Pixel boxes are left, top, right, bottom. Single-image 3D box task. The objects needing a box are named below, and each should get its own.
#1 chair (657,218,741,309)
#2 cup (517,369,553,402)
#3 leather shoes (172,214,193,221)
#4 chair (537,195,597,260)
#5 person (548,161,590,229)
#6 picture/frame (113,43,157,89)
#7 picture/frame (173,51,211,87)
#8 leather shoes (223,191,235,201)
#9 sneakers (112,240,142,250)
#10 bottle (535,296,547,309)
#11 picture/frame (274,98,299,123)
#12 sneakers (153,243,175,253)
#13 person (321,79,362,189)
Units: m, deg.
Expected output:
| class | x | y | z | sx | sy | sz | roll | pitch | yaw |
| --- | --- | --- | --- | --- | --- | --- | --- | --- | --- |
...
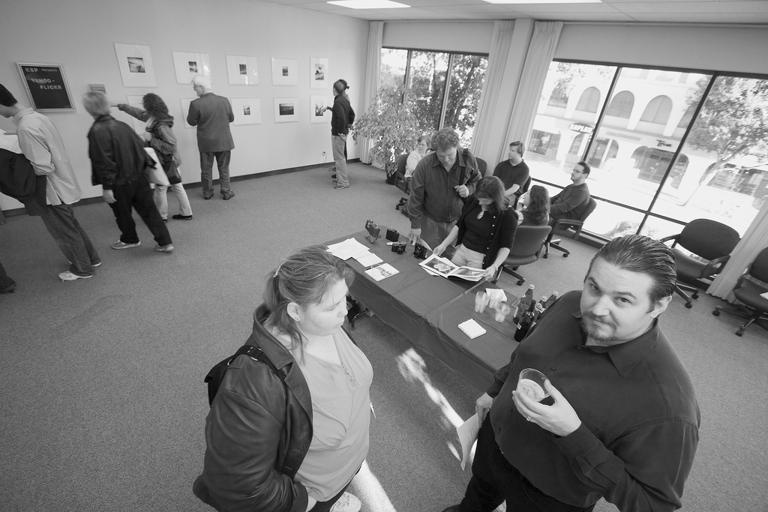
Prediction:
| class | x | y | z | sx | sy | sz | roll | pitch | yaw |
| --- | --- | --- | --- | --- | --- | --- | --- | --- | --- |
| chair | 4.184 | 0.136 | 5.475 | 0.878 | 1.126 | 0.778 | -17 | 33 | -30 |
| cup | 1.041 | 0.970 | 3.007 | 0.246 | 0.198 | 0.198 | -15 | 54 | -9 |
| leather shoes | -3.239 | -0.613 | 6.757 | 0.277 | 0.116 | 0.117 | 11 | 26 | 10 |
| chair | 2.887 | -0.451 | 6.645 | 0.641 | 0.964 | 0.636 | 11 | 36 | -24 |
| person | 2.968 | -0.983 | 6.661 | 0.519 | 0.985 | 0.683 | 5 | 27 | -3 |
| picture/frame | -3.973 | -3.047 | 6.648 | 0.686 | 0.737 | 0.036 | -17 | 21 | -38 |
| picture/frame | -3.268 | -3.154 | 7.066 | 0.017 | 0.537 | 0.770 | 22 | 31 | 36 |
| leather shoes | -2.798 | -1.088 | 7.576 | 0.082 | 0.097 | 0.230 | 8 | 25 | 12 |
| sneakers | -3.657 | -0.132 | 5.979 | 0.352 | 0.151 | 0.138 | -1 | 28 | -14 |
| bottle | 1.512 | 0.462 | 4.035 | 0.142 | 0.124 | 0.096 | 6 | 2 | 21 |
| picture/frame | -1.993 | -2.959 | 8.469 | 0.491 | 0.400 | 0.020 | -22 | 37 | -37 |
| sneakers | -3.069 | -0.092 | 5.886 | 0.263 | 0.117 | 0.105 | 4 | 26 | 7 |
| person | -0.894 | -2.481 | 8.469 | 0.539 | 2.022 | 0.924 | 2 | 28 | -8 |
